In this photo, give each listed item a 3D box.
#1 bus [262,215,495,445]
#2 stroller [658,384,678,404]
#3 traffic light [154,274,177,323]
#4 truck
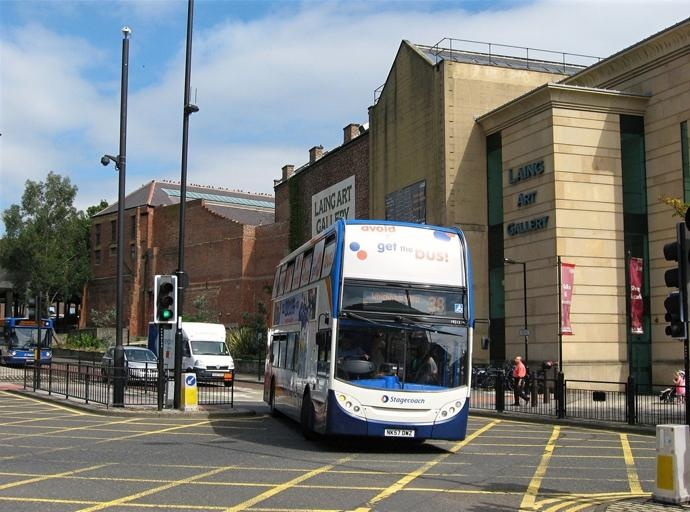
[{"bbox_3d":[0.405,2.628,29.773,3.211,4.092,8.916,3,-11,-12],"label":"bus"},{"bbox_3d":[10.536,4.468,32.036,0.456,0.947,1.788,1,-3,13],"label":"stroller"},{"bbox_3d":[-5.776,1.366,31.864,0.727,1.617,0.482,2,-10,-11],"label":"traffic light"},{"bbox_3d":[-6.724,4.461,45.568,2.396,3.135,6.422,1,-4,-30],"label":"truck"}]
